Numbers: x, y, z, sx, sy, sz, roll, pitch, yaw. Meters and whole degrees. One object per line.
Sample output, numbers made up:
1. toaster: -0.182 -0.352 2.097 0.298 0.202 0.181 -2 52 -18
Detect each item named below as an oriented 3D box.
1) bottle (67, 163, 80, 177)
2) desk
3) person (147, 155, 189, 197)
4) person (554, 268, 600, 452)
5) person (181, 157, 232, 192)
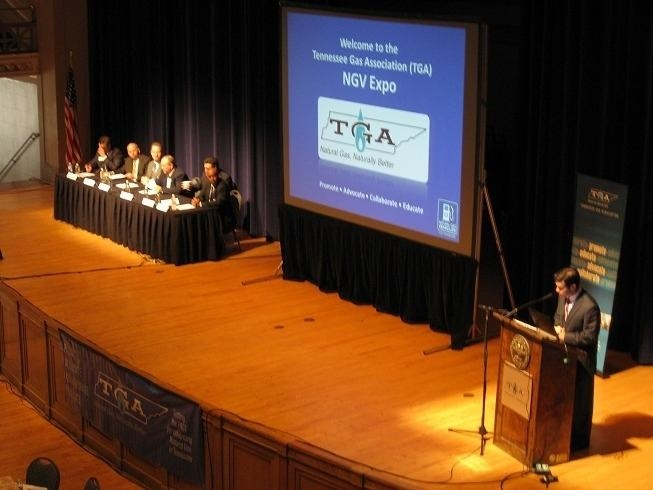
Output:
1. bottle: -5.002 -1.484 12.622 0.357 0.412 0.102 -4 -10 41
2. desk: -3.282 -0.846 11.388 3.559 1.012 1.258 14 38 13
3. person: -2.759 -1.025 11.345 0.679 0.976 0.582 7 -18 -14
4. person: 2.370 1.076 6.137 0.469 1.737 0.817 7 16 25
5. person: -2.078 -1.259 11.098 0.541 0.400 0.801 13 36 36
